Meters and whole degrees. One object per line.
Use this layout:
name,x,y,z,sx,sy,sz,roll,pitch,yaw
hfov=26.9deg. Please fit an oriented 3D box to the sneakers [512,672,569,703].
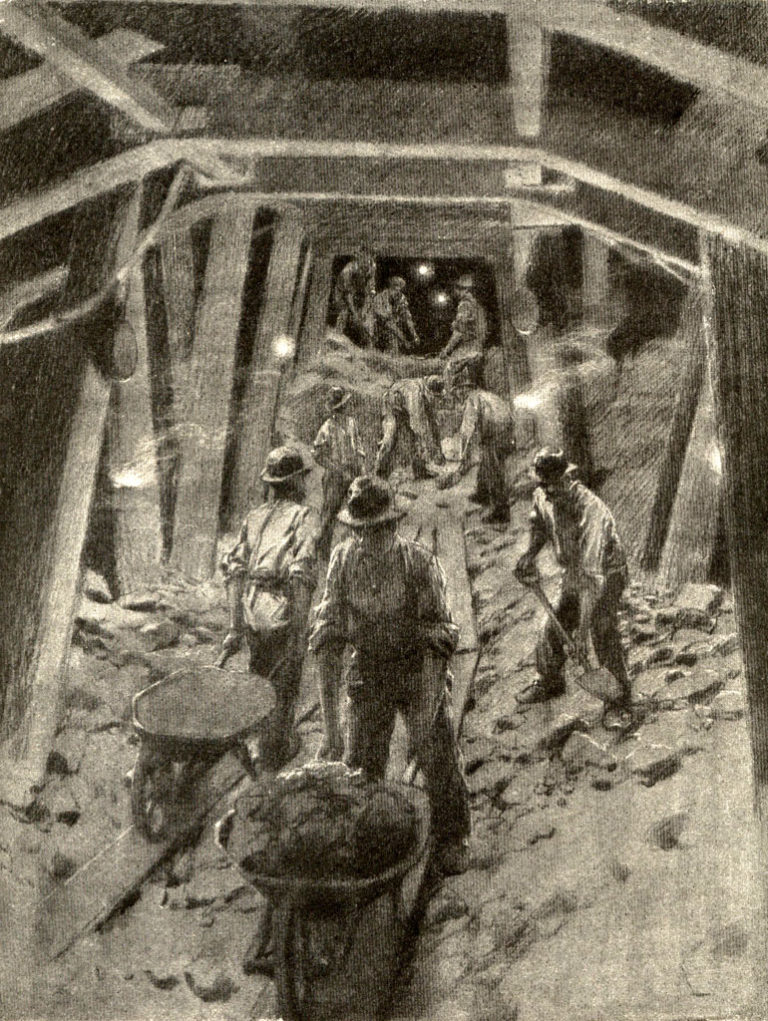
sneakers,0.708,0.804,7.263,0.242,0.211,0.096,2,-11,-3

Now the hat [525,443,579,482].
hat,0.768,-0.201,7.367,0.145,0.087,0.166,-6,22,33

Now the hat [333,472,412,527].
hat,-0.061,-0.028,7.262,0.213,0.166,0.242,-5,15,8
